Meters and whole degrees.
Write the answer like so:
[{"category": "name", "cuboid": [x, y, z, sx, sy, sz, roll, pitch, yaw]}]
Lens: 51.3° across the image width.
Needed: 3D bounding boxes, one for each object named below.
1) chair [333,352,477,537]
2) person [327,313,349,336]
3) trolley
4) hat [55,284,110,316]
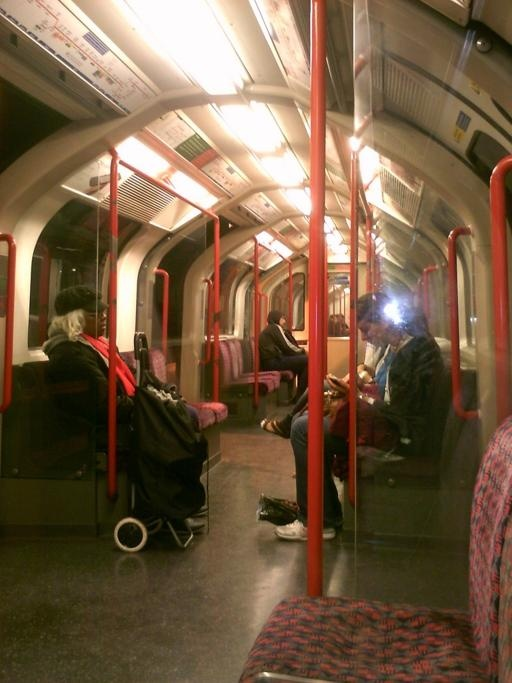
[{"category": "chair", "cuboid": [0.472, 0.184, 1.776, 0.423, 0.571, 0.797, 0, -6, 11]}, {"category": "person", "cuboid": [1.645, -0.317, 10.693, 0.399, 0.725, 0.746, 0, 2, 12]}, {"category": "trolley", "cuboid": [-0.678, 0.691, 3.736, 0.632, 1.409, 0.606, -2, -2, 28]}, {"category": "hat", "cuboid": [-1.231, -0.290, 3.711, 0.276, 0.149, 0.181, -7, 8, -4]}]
